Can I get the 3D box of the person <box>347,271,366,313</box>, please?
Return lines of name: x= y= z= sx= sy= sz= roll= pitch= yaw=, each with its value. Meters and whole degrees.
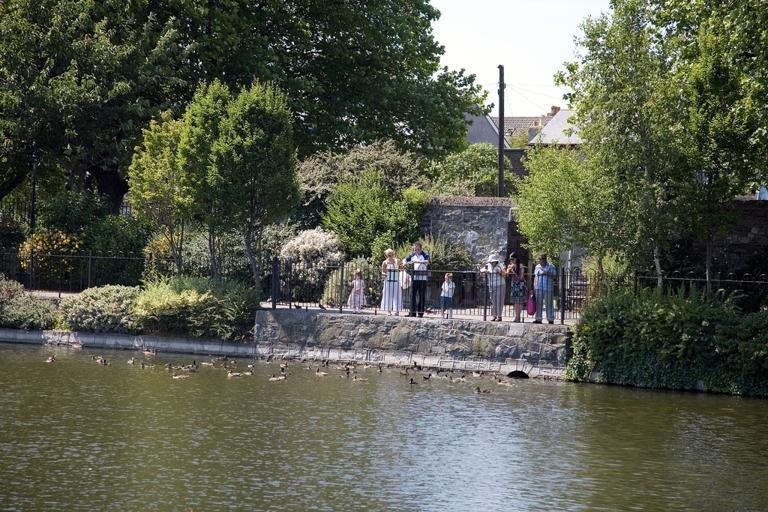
person: x=-0.920 y=1.192 z=46.152 sx=0.567 sy=1.404 sz=1.058 roll=2 pitch=-5 yaw=-3

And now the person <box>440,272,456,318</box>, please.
person: x=2.088 y=1.333 z=44.928 sx=0.435 sy=1.534 sz=1.350 roll=2 pitch=-6 yaw=2

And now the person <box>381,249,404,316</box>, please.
person: x=0.259 y=0.910 z=45.416 sx=0.672 sy=2.153 sz=0.925 roll=2 pitch=-5 yaw=0

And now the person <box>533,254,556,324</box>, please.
person: x=5.159 y=1.100 z=44.057 sx=0.641 sy=2.269 sz=1.300 roll=2 pitch=-5 yaw=5

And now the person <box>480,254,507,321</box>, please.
person: x=3.583 y=1.074 z=44.477 sx=0.707 sy=2.192 sz=1.543 roll=2 pitch=-5 yaw=4
